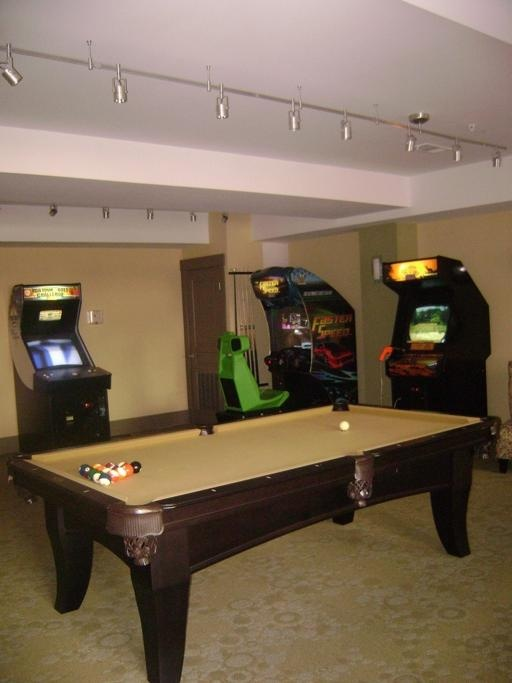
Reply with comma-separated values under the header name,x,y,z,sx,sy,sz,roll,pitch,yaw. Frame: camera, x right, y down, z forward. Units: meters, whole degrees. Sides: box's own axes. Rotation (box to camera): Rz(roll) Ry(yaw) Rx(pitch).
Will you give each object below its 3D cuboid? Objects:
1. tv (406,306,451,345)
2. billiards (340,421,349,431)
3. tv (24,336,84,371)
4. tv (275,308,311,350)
name,x,y,z,sx,sy,sz,roll,pitch,yaw
tv,1.661,-0.145,5.185,0.042,0.356,0.392,16,-6,-29
billiards,0.454,0.440,2.798,0.043,0.039,0.052,-3,-3,10
tv,-2.049,0.124,5.510,0.498,0.293,0.280,-4,8,-34
tv,0.439,-0.129,6.003,0.135,0.414,0.417,-2,-1,-43
